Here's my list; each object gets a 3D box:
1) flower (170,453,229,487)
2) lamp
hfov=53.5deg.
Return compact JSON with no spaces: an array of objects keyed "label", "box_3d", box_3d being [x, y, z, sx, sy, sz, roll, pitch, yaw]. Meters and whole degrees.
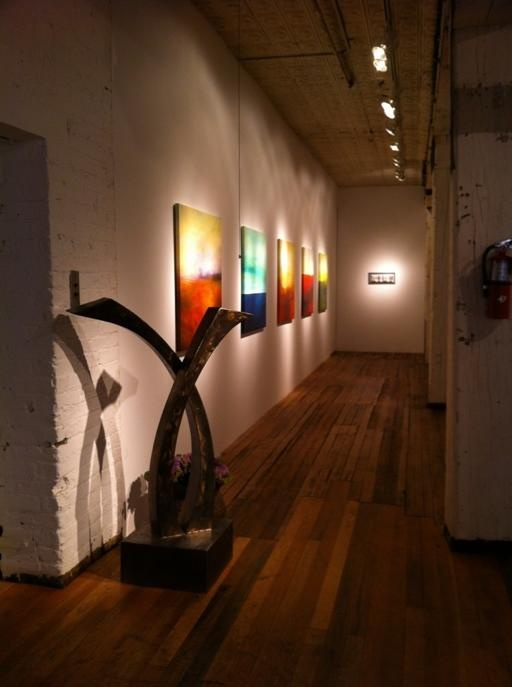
[{"label":"flower","box_3d":[-0.340,0.680,2.718,0.193,0.140,0.199,8,-6,41]},{"label":"lamp","box_3d":[1.623,-2.768,6.167,0.211,0.167,1.907,11,-26,19]}]
